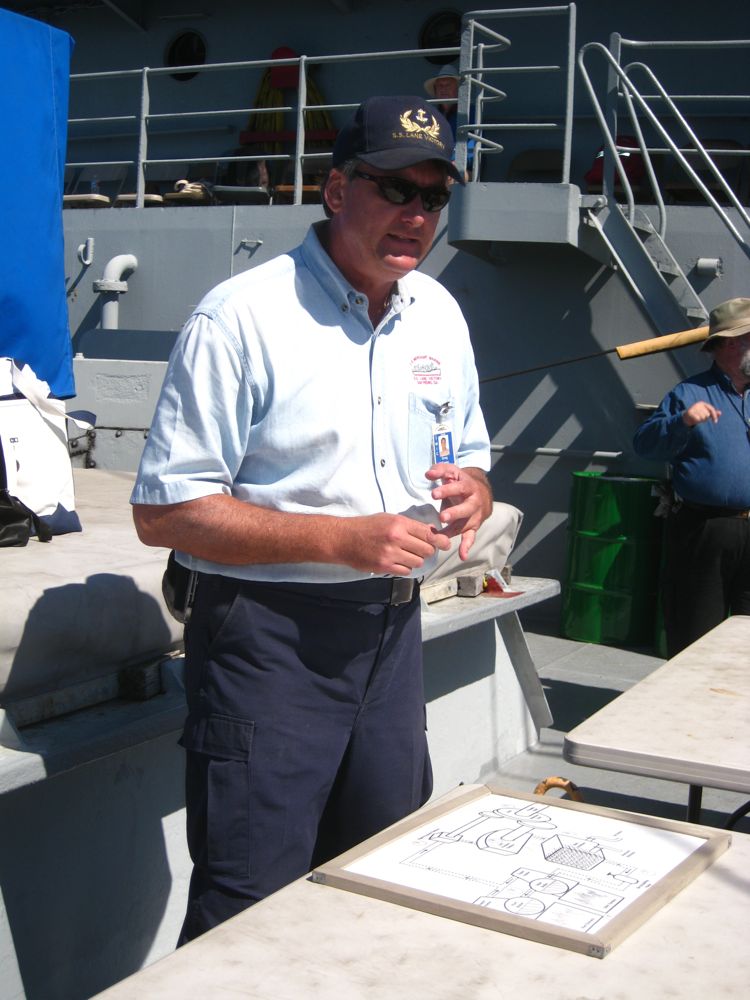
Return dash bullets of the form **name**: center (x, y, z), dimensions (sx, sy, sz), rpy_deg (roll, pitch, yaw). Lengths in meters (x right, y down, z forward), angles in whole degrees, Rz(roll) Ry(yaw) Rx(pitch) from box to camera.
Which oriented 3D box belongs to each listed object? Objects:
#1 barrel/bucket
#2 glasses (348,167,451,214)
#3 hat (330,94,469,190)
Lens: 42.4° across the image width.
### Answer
- **barrel/bucket**: center (1.648, 0.391, 6.218), dimensions (0.688, 0.979, 0.659), rpy_deg (0, 5, 0)
- **glasses**: center (0.049, -0.531, 1.592), dimensions (0.099, 0.027, 0.096), rpy_deg (5, 19, -42)
- **hat**: center (0.041, -0.635, 1.654), dimensions (0.198, 0.120, 0.253), rpy_deg (-2, 22, -23)
